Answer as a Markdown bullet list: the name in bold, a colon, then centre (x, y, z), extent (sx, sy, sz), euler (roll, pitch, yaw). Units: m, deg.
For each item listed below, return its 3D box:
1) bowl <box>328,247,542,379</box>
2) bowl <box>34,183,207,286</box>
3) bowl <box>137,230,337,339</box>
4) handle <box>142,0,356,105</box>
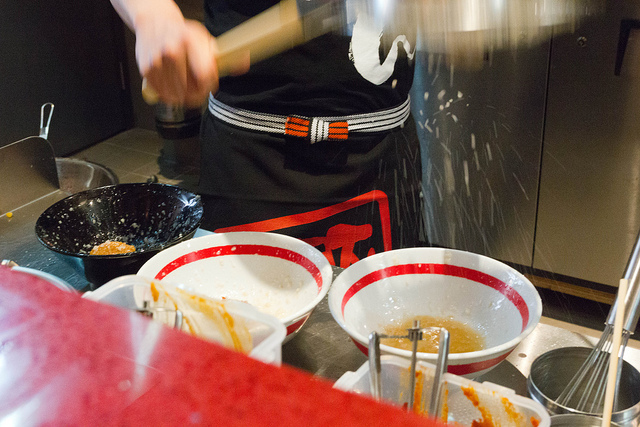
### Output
- **bowl**: centre (0.175, 0.159, 0.716), extent (0.307, 0.092, 0.269), euler (13, 34, 21)
- **bowl**: centre (-0.428, 0.036, 0.909), extent (0.251, 0.107, 0.251), euler (3, 34, -2)
- **bowl**: centre (-0.141, 0.082, 0.805), extent (0.210, 0.076, 0.207), euler (4, 32, -2)
- **handle**: centre (-0.135, -0.262, 0.827), extent (0.417, 0.067, 0.094), euler (-7, 30, 41)
